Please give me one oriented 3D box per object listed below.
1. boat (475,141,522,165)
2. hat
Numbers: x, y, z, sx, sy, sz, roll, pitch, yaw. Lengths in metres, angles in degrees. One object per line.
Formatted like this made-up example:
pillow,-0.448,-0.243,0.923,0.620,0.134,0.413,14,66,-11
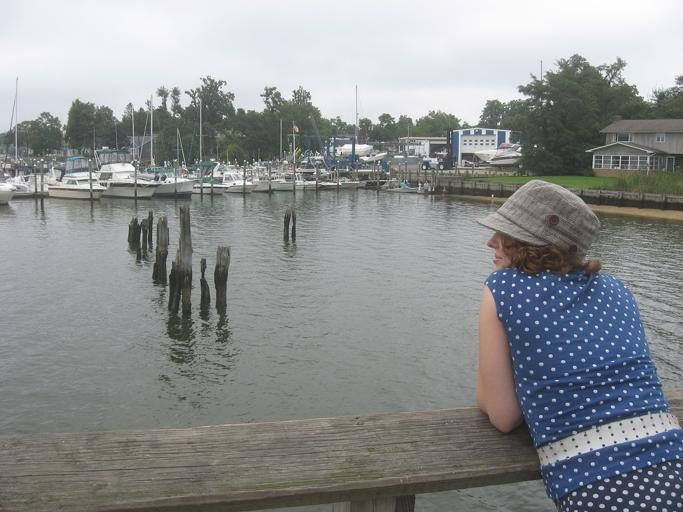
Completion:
boat,21.297,-13.927,98.688,5.032,3.200,30.499,2,9,11
hat,0.990,-0.233,3.524,0.504,0.335,0.676,13,10,28
